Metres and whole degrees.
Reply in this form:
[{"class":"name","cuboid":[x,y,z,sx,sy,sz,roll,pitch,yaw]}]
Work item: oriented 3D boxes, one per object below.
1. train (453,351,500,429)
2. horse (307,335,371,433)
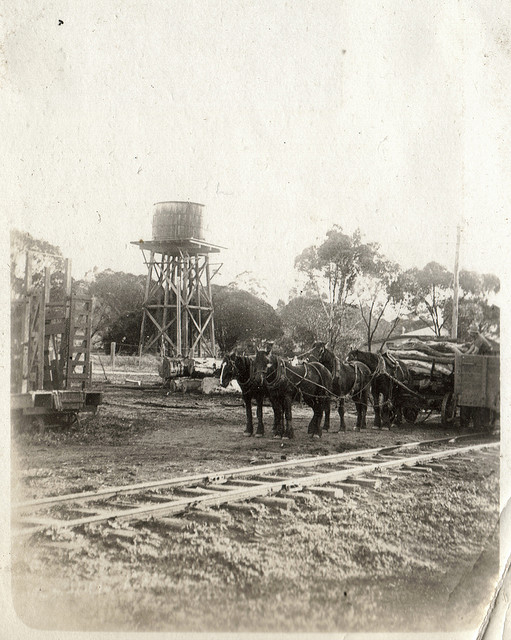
[{"class":"train","cuboid":[3.074,0.920,9.877,0.557,1.368,0.779,2,7,22]},{"class":"horse","cuboid":[1.153,0.935,9.348,0.954,1.326,0.317,7,-2,-28]}]
